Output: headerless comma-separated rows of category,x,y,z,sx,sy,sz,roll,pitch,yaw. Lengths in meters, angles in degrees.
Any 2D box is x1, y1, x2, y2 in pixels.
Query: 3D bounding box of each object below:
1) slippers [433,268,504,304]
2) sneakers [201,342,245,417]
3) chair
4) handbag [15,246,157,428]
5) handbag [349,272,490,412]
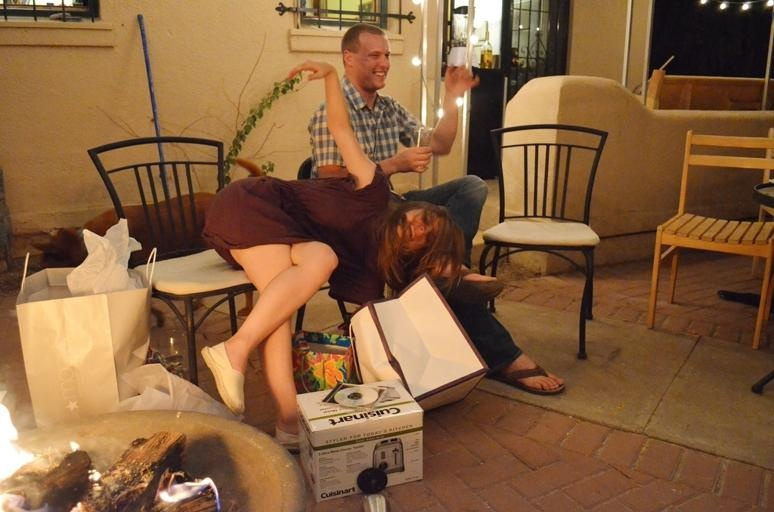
slippers,0.371,0.119,3.172,0.447,0.195,0.301,-4,12,-35
sneakers,-0.709,0.532,2.567,0.176,0.290,0.241,-2,16,-16
chair,-0.913,0.054,3.087,0.969,1.432,1.137,25,33,37
handbag,-1.314,0.384,2.712,0.571,0.770,0.648,-20,38,-26
handbag,0.145,0.445,2.810,0.609,0.632,0.351,-7,20,-13
